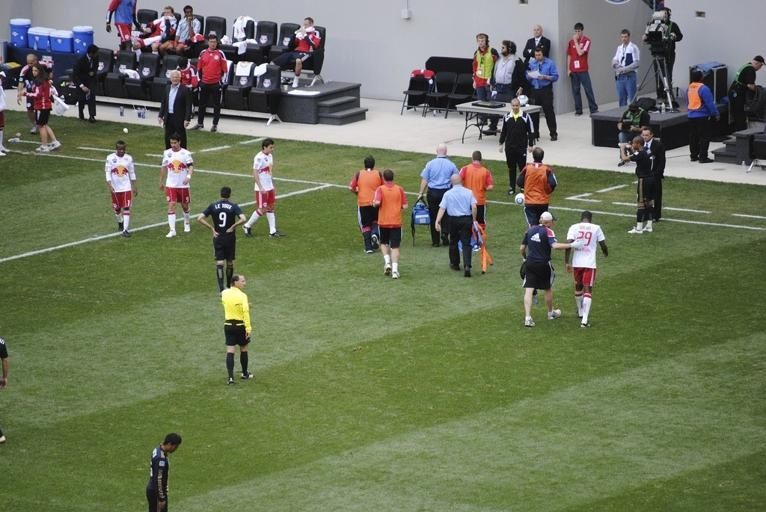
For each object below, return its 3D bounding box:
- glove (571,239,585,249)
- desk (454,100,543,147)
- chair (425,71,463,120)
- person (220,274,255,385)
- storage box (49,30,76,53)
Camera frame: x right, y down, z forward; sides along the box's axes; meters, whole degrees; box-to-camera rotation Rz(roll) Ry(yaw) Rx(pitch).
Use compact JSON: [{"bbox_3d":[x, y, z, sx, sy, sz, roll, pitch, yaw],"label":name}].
[{"bbox_3d":[3.831,-0.229,28.362,0.292,0.172,0.048,1,12,2],"label":"glove"},{"bbox_3d":[2.984,-3.778,40.560,2.062,1.116,4.103,-1,11,-4],"label":"desk"},{"bbox_3d":[1.699,-4.837,43.629,1.097,1.212,1.097,3,29,20],"label":"chair"},{"bbox_3d":[-2.743,1.266,27.203,0.538,2.064,1.363,-1,12,-5],"label":"person"},{"bbox_3d":[-10.512,-6.950,47.324,0.824,0.525,0.765,0,15,-2],"label":"storage box"}]
